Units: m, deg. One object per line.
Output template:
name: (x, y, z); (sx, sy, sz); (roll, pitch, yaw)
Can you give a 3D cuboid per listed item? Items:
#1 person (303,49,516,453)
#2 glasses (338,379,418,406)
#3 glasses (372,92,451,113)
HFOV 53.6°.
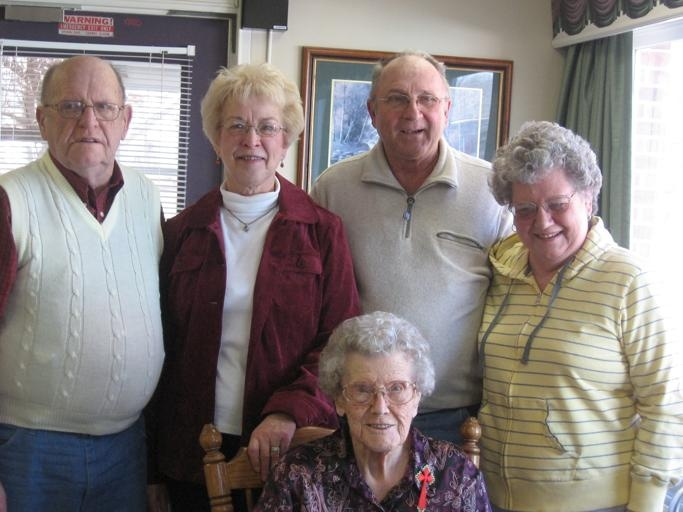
person: (0.280, 0.229, 2.595); (0.821, 1.918, 0.506); (0, 9, 11)
glasses: (0.111, 0.404, 1.999); (0.208, 0.072, 0.047); (2, 9, -1)
glasses: (0.256, -0.554, 2.452); (0.256, 0.064, 0.126); (3, 9, 6)
